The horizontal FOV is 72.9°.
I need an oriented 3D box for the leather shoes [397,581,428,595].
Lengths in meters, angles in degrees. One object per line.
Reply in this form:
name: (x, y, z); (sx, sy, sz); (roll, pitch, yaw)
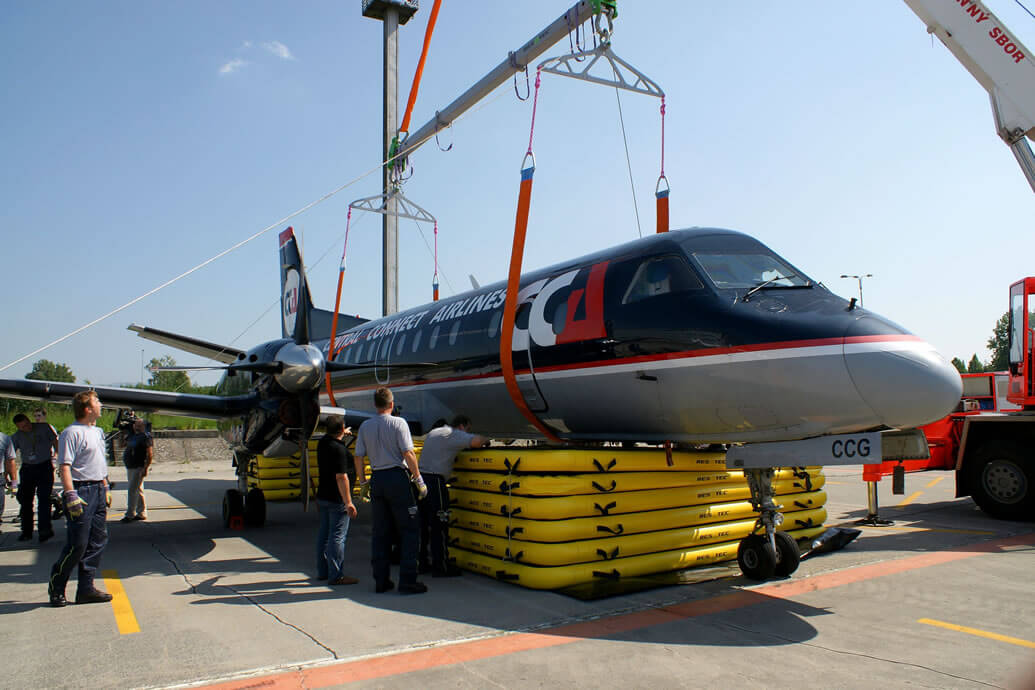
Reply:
leather shoes: (-1.299, 2.974, 8.605); (0.376, 0.135, 0.134); (-1, -3, -13)

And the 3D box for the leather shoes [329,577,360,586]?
leather shoes: (-2.235, 3.015, 8.978); (0.338, 0.119, 0.113); (-1, -6, -4)

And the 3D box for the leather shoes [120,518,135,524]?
leather shoes: (-7.548, 3.383, 13.533); (0.282, 0.101, 0.107); (0, -4, 25)

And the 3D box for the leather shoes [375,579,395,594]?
leather shoes: (-1.642, 2.988, 8.719); (0.266, 0.131, 0.190); (0, -1, -26)

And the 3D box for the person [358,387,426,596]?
person: (-1.594, 1.804, 8.806); (0.890, 2.500, 0.395); (-2, -2, 35)

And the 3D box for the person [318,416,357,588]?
person: (-2.381, 2.004, 9.159); (0.450, 2.159, 0.732); (0, -2, -15)

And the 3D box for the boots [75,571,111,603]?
boots: (-5.069, 2.873, 8.379); (0.387, 0.383, 0.195); (0, -2, -19)

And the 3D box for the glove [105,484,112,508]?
glove: (-5.087, 1.841, 8.692); (0.047, 0.307, 0.281); (0, -1, -22)

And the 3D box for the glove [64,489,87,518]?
glove: (-5.179, 1.853, 8.247); (0.152, 0.280, 0.229); (7, 8, -25)

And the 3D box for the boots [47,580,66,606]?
boots: (-5.462, 2.932, 8.318); (0.166, 0.279, 0.299); (0, -2, -34)
